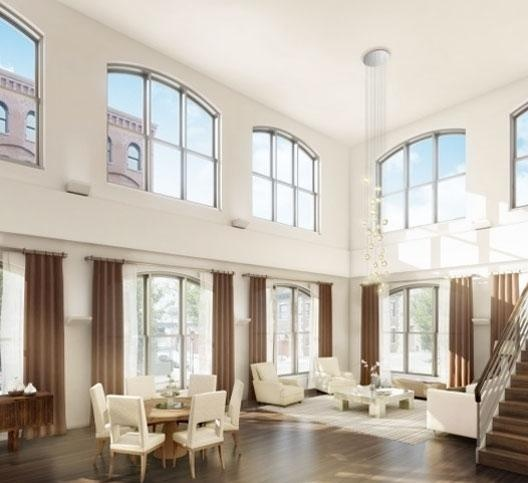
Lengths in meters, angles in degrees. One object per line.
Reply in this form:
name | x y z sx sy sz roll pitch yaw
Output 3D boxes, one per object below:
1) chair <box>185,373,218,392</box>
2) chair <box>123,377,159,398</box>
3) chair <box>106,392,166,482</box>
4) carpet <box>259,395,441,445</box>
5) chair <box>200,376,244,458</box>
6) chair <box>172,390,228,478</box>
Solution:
chair | -1.174 2.669 9.761 0.335 0.543 0.413 -1 -10 13
chair | -2.269 2.619 9.536 0.398 0.624 0.462 7 -14 -30
chair | -1.941 2.800 7.619 0.727 1.168 0.583 0 -3 17
carpet | 2.005 3.596 10.822 3.438 0.264 2.359 -2 -5 40
chair | -0.682 2.950 8.932 0.807 1.514 0.825 4 -11 -16
chair | -0.963 2.835 7.973 0.753 1.164 1.136 1 -3 -1
